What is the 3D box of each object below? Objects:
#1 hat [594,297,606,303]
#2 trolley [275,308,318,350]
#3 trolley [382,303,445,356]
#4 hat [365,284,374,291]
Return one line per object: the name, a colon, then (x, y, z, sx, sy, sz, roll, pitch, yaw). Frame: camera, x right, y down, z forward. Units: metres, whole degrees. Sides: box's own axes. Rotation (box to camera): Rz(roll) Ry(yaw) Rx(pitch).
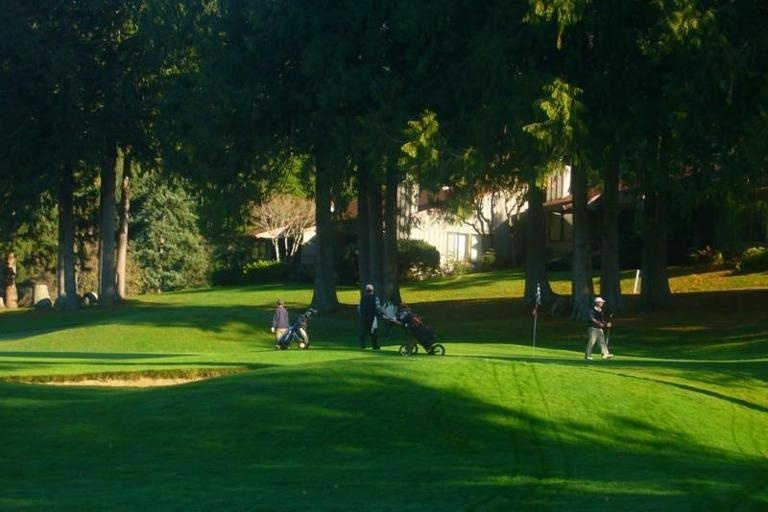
hat: (8.432, 1.692, 39.104, 0.422, 0.170, 0.297, -2, 3, -34)
trolley: (-3.611, 2.660, 37.003, 1.408, 0.790, 0.932, -9, -27, 27)
trolley: (1.020, 2.505, 35.372, 1.658, 1.612, 2.016, -10, 12, -38)
hat: (-0.562, 1.104, 36.160, 0.203, 0.159, 0.318, 1, -8, -1)
